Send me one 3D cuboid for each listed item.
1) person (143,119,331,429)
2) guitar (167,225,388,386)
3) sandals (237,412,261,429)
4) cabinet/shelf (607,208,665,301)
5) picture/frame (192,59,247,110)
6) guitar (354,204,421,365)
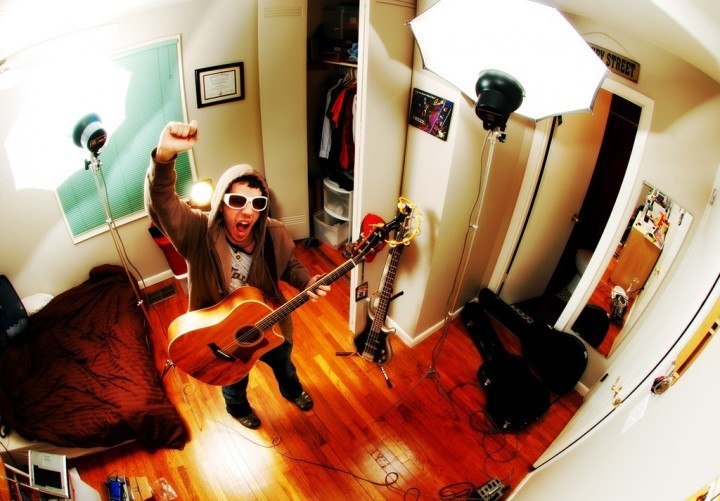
[{"bbox_3d":[-0.708,0.239,2.980,0.919,1.978,0.627,-6,19,-19],"label":"person"},{"bbox_3d":[-0.512,0.328,2.937,1.465,0.603,0.202,-35,45,13],"label":"guitar"},{"bbox_3d":[-0.752,1.158,3.343,0.159,0.063,0.089,14,42,-44],"label":"sandals"},{"bbox_3d":[1.692,0.012,2.985,0.143,0.391,0.429,20,63,13],"label":"cabinet/shelf"},{"bbox_3d":[-0.811,-0.953,2.779,0.254,0.190,0.012,-18,35,-29],"label":"picture/frame"},{"bbox_3d":[0.179,0.321,3.484,0.412,1.564,0.206,30,46,21],"label":"guitar"}]
